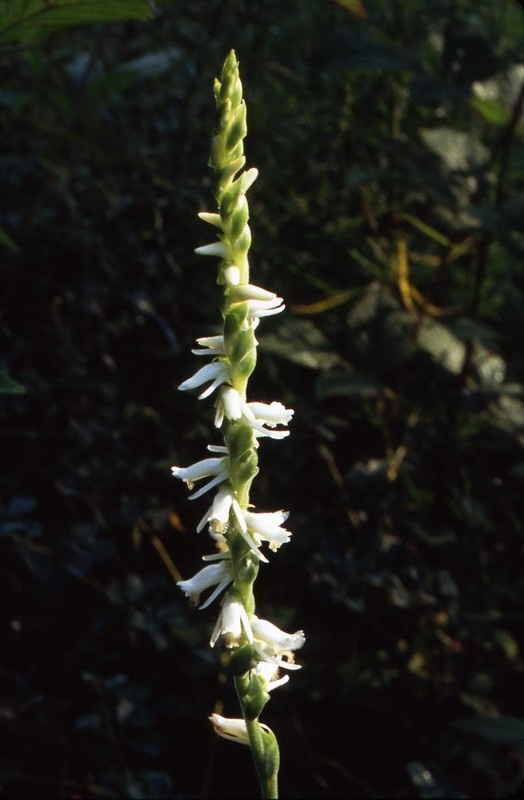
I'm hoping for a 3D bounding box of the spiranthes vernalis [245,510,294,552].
[{"bbox_3d":[0.004,0.127,0.764,0.048,0.037,0.022,16,-30,-5],"label":"spiranthes vernalis"}]

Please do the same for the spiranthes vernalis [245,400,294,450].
[{"bbox_3d":[0.006,0.016,0.758,0.045,0.020,0.045,45,-14,17],"label":"spiranthes vernalis"}]

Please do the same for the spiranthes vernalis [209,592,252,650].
[{"bbox_3d":[-0.022,0.205,0.727,0.037,0.047,0.027,15,2,3],"label":"spiranthes vernalis"}]

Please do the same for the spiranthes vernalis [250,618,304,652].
[{"bbox_3d":[0.016,0.219,0.750,0.057,0.023,0.014,20,10,4],"label":"spiranthes vernalis"}]
